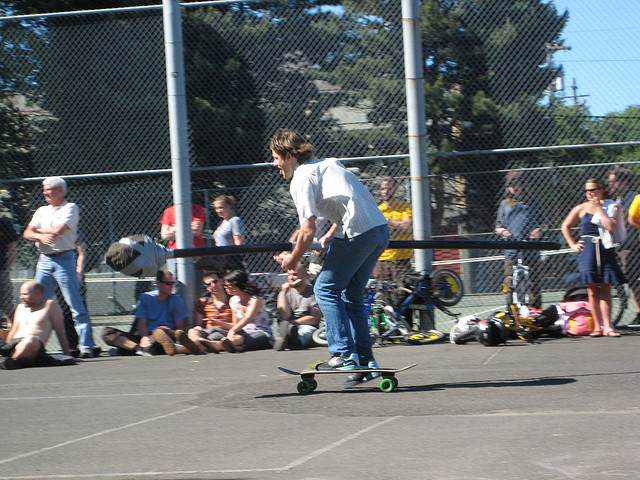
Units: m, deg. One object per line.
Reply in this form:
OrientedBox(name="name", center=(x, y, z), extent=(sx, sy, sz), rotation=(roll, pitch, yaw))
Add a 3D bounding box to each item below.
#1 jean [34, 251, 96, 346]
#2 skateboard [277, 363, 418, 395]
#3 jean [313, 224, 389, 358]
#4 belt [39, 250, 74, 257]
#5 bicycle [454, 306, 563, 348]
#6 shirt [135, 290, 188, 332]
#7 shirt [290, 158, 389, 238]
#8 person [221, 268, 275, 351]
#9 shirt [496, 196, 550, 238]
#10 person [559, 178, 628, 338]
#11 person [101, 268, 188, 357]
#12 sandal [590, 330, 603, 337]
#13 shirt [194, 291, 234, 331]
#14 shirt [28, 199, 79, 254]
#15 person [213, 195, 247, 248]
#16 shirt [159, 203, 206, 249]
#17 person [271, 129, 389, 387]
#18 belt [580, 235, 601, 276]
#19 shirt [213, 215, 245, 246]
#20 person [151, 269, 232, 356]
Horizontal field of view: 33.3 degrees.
OrientedBox(name="jean", center=(-2.893, 0.666, 12.102), extent=(0.597, 1.072, 0.275), rotation=(-2, -1, -12))
OrientedBox(name="skateboard", center=(0.224, 1.245, 9.677), extent=(1.937, 0.230, 0.353), rotation=(-1, -4, 5))
OrientedBox(name="jean", center=(0.323, 0.468, 9.740), extent=(0.712, 1.209, 0.309), rotation=(-2, -1, -9))
OrientedBox(name="belt", center=(-2.965, 0.155, 12.090), extent=(0.319, 0.075, 0.079), rotation=(-1, -1, -11))
OrientedBox(name="bicycle", center=(2.221, 0.935, 12.045), extent=(1.051, 0.301, 0.660), rotation=(3, 8, -24))
OrientedBox(name="shirt", center=(-1.777, 0.832, 12.377), extent=(0.773, 0.385, 0.356), rotation=(-2, 9, 25))
OrientedBox(name="shirt", center=(0.139, -0.398, 9.740), extent=(0.788, 0.627, 0.737), rotation=(-4, 7, 42))
OrientedBox(name="person", center=(-0.792, 0.788, 12.028), extent=(0.556, 0.890, 0.438), rotation=(-2, -1, -2))
OrientedBox(name="shirt", center=(2.363, -0.284, 12.374), extent=(0.757, 0.422, 0.316), rotation=(-2, -5, 0))
OrientedBox(name="person", center=(3.093, 0.210, 12.060), extent=(0.468, 1.260, 0.656), rotation=(-1, -2, -39))
OrientedBox(name="person", center=(-1.872, 0.852, 12.267), extent=(1.273, 0.757, 0.728), rotation=(0, 7, 14))
OrientedBox(name="sandal", center=(3.150, 1.051, 12.043), extent=(0.140, 0.056, 0.094), rotation=(-1, -1, 8))
OrientedBox(name="shirt", center=(-1.155, 0.814, 12.357), extent=(0.603, 0.349, 0.255), rotation=(3, 12, -5))
OrientedBox(name="shirt", center=(-3.004, -0.152, 12.103), extent=(0.540, 0.620, 0.294), rotation=(-2, -1, -11))
OrientedBox(name="person", center=(-1.091, -0.236, 12.649), extent=(0.436, 0.594, 0.247), rotation=(-2, -1, 12))
OrientedBox(name="shirt", center=(-1.589, -0.159, 12.588), extent=(0.846, 0.497, 0.343), rotation=(-2, -7, -4))
OrientedBox(name="person", center=(0.146, 0.170, 9.684), extent=(1.038, 2.342, 0.434), rotation=(-2, -1, -4))
OrientedBox(name="belt", center=(3.089, 0.173, 11.980), extent=(0.197, 0.323, 0.038), rotation=(-3, -1, 34))
OrientedBox(name="shirt", center=(-1.043, -0.105, 12.576), extent=(0.290, 0.316, 0.471), rotation=(16, -11, -38))
OrientedBox(name="person", center=(-1.496, 0.829, 12.181), extent=(0.794, 0.929, 0.711), rotation=(-1, -2, -40))
